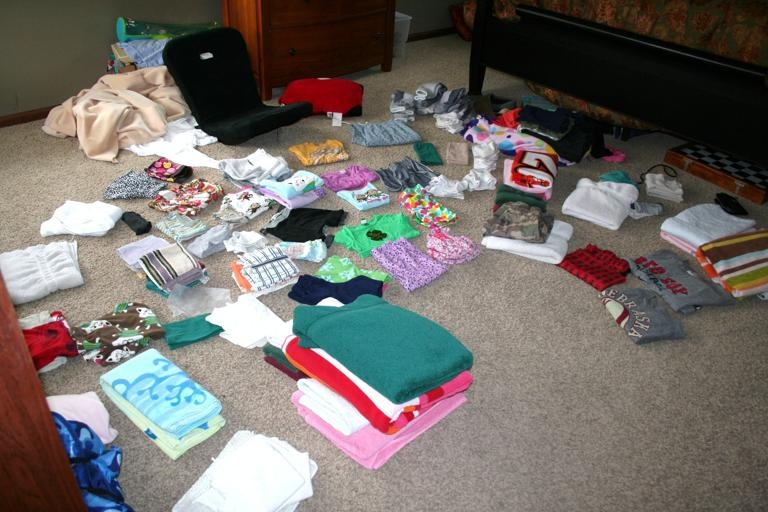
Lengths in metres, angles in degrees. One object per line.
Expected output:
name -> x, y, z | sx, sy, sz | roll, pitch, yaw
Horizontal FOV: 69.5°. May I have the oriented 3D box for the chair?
chair -> -1.223, -1.355, 4.344 | 1.132, 0.717, 0.936 | 31, 48, 25
